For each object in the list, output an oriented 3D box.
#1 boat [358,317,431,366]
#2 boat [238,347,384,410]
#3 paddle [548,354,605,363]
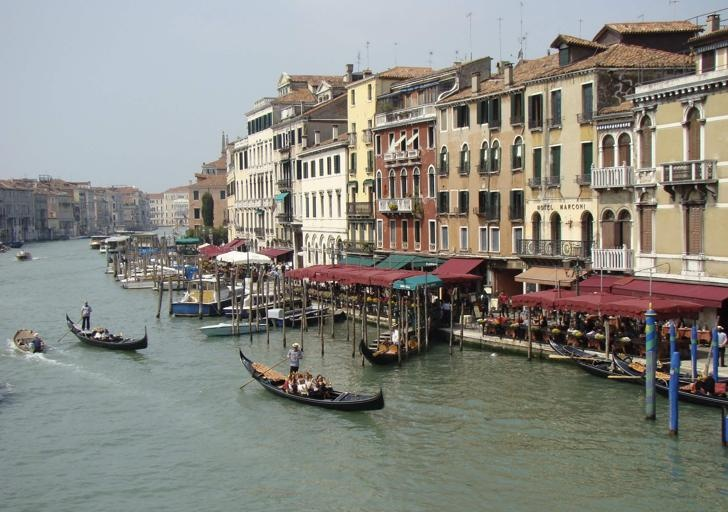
[{"bbox_3d":[2.229,6.225,66.303,2.964,2.044,6.098,7,17,35],"label":"boat"},{"bbox_3d":[-3.089,8.127,57.554,10.605,1.966,1.553,9,18,41],"label":"boat"},{"bbox_3d":[13.909,6.519,60.405,3.059,0.579,0.354,8,-2,3],"label":"paddle"}]
